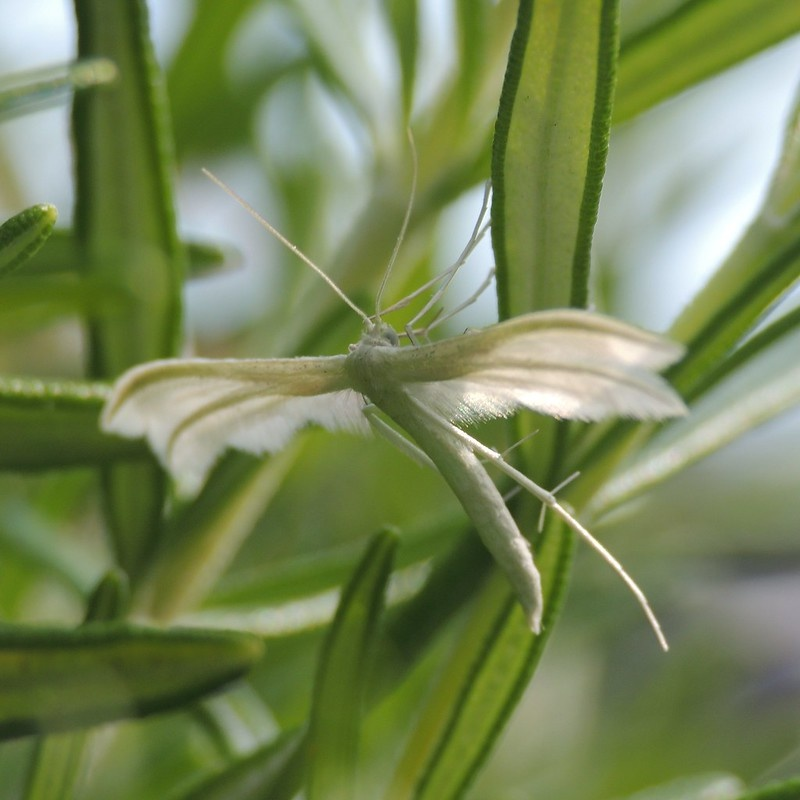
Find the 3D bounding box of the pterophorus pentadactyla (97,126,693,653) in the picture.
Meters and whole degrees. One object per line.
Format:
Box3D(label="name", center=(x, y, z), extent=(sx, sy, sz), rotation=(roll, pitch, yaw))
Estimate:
Box3D(label="pterophorus pentadactyla", center=(0.016, -0.032, 0.720), extent=(0.338, 0.378, 0.173), rotation=(-17, -9, 37))
